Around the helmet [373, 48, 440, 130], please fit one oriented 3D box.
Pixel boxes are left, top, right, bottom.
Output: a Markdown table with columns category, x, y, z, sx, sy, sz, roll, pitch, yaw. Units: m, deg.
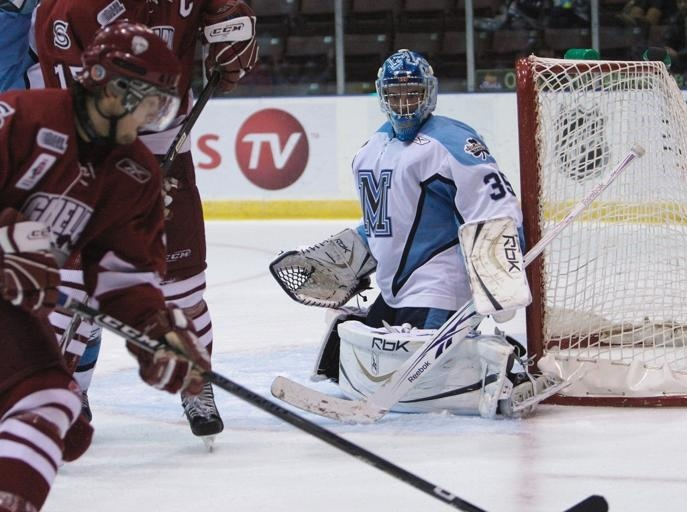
| category | x | y | z | sx | sy | sz | roll | pitch | yaw |
| --- | --- | --- | --- | --- | --- | --- | --- | --- | --- |
| helmet | 0.305 | -0.636 | 3.679 | 0.263 | 0.321 | 0.301 | -1 | 11 | 9 |

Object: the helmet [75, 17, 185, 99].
| category | x | y | z | sx | sy | sz | roll | pitch | yaw |
| --- | --- | --- | --- | --- | --- | --- | --- | --- | --- |
| helmet | -0.536 | -0.483 | 2.479 | 0.230 | 0.195 | 0.176 | 34 | 12 | 6 |

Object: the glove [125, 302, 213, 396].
| category | x | y | z | sx | sy | sz | roll | pitch | yaw |
| --- | --- | --- | --- | --- | --- | --- | --- | --- | --- |
| glove | -0.440 | 0.248 | 2.442 | 0.089 | 0.224 | 0.221 | -36 | 17 | 41 |

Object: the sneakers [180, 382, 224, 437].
| category | x | y | z | sx | sy | sz | roll | pitch | yaw |
| --- | --- | --- | --- | --- | --- | --- | --- | --- | --- |
| sneakers | -0.495 | 0.514 | 3.315 | 0.123 | 0.155 | 0.395 | -28 | 5 | -9 |
